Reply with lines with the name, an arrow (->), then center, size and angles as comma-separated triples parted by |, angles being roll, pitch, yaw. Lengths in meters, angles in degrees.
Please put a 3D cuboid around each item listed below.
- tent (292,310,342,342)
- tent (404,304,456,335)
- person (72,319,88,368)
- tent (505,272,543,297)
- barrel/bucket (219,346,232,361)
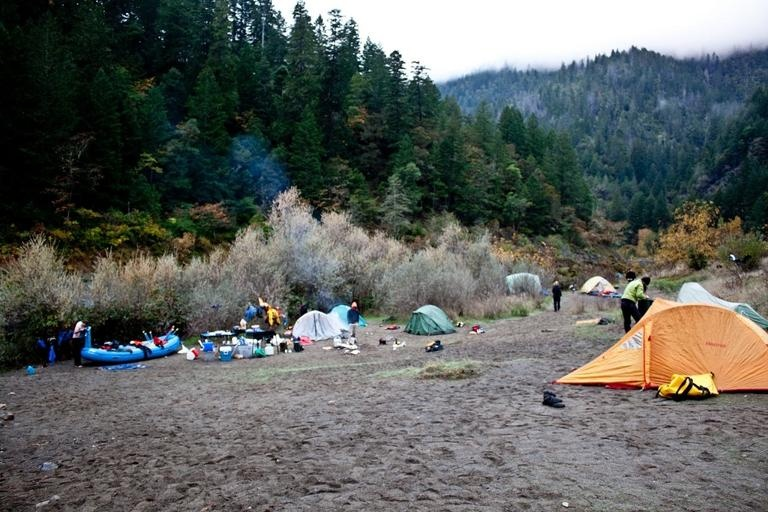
tent -> -4.123, 4.419, 39.914 | 2.275, 0.936, 1.869 | 1, -2, -39
tent -> 2.893, 4.131, 40.411 | 2.063, 1.112, 2.133 | -2, -1, 32
person -> -16.808, 4.788, 34.998 | 0.742, 1.840, 0.591 | -5, -2, -32
tent -> 10.991, 2.173, 49.511 | 2.035, 1.244, 2.146 | -2, 0, 9
barrel/bucket -> -8.921, 5.443, 35.816 | 0.720, 0.763, 0.608 | -1, 1, -10
